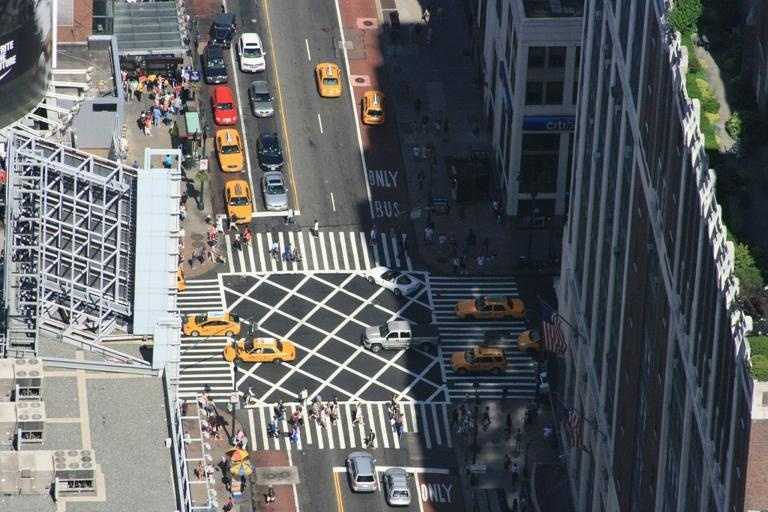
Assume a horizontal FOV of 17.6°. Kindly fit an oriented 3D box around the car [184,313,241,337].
[{"bbox_3d":[-16.986,6.580,239.830,4.788,1.517,2.428,1,45,-6],"label":"car"}]

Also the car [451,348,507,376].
[{"bbox_3d":[9.183,10.119,237.374,5.095,1.941,2.359,1,43,1],"label":"car"}]

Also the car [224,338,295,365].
[{"bbox_3d":[-11.983,9.202,237.829,6.102,1.610,2.833,2,36,-7],"label":"car"}]

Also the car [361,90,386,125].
[{"bbox_3d":[-1.252,-16.271,264.792,2.276,3.677,1.908,-2,1,5],"label":"car"}]

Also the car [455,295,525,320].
[{"bbox_3d":[10.518,4.872,242.956,5.782,1.749,2.754,1,37,-1],"label":"car"}]

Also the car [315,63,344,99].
[{"bbox_3d":[-5.916,-19.556,268.093,2.818,3.958,3.192,-2,1,-1],"label":"car"}]

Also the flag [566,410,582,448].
[{"bbox_3d":[17.210,15.689,221.806,1.143,3.302,2.120,-2,1,2],"label":"flag"}]

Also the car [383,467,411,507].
[{"bbox_3d":[1.177,21.470,226.242,2.253,3.456,2.276,-2,1,-6],"label":"car"}]

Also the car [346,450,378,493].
[{"bbox_3d":[-1.968,20.138,227.094,2.445,3.635,2.430,-2,1,-7],"label":"car"}]

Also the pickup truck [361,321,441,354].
[{"bbox_3d":[1.803,7.909,240.510,7.353,2.363,3.094,0,55,-2],"label":"pickup truck"}]
